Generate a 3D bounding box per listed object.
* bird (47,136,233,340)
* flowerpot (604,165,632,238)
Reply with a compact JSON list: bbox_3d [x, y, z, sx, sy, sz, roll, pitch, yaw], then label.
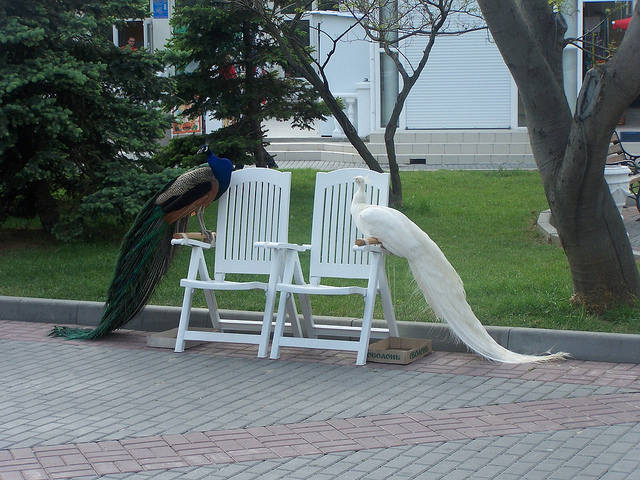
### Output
[{"bbox_3d":[-2.573,0.009,11.651,2.961,1.473,0.778,-38,17,11],"label":"bird"},{"bbox_3d":[5.123,-0.726,14.674,0.402,0.839,1.334,-1,2,19],"label":"flowerpot"}]
